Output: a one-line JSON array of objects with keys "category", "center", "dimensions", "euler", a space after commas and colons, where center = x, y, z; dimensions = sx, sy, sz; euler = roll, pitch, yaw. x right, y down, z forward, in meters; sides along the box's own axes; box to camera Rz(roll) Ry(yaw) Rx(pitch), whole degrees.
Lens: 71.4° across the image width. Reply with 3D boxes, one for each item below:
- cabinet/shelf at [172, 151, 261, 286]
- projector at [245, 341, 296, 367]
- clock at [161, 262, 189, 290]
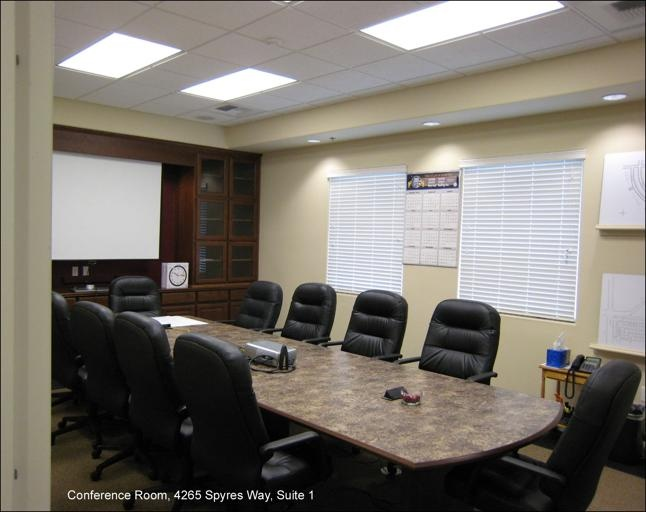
[{"category": "cabinet/shelf", "center": [-1.387, -0.555, 6.506], "dimensions": [0.271, 1.880, 1.107], "euler": [6, 6, 41]}, {"category": "projector", "center": [-0.338, 0.620, 2.890], "dimensions": [0.228, 0.099, 0.168], "euler": [-1, 0, 42]}, {"category": "clock", "center": [-1.958, 0.263, 6.007], "dimensions": [0.399, 0.342, 0.260], "euler": [-1, 5, -35]}]
